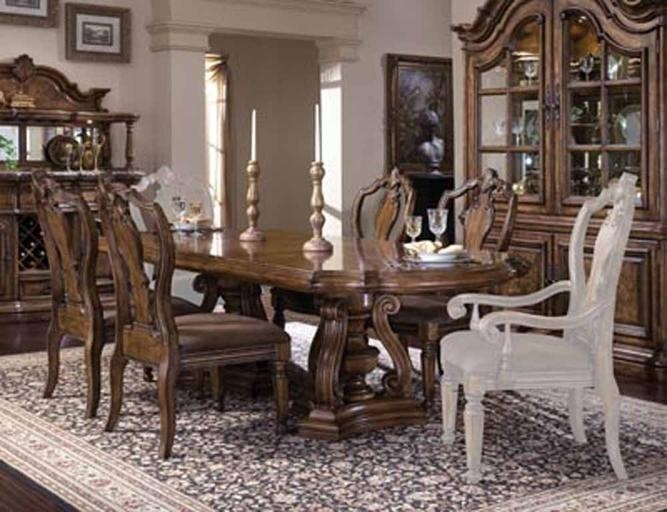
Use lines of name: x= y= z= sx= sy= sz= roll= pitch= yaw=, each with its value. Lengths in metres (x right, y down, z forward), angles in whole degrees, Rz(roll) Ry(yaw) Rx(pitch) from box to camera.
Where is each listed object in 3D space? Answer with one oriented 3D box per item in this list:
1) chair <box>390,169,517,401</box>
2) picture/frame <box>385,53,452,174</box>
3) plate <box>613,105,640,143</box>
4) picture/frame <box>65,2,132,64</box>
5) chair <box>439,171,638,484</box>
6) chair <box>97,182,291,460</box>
chair: x=0.538 y=0.130 z=3.557 sx=0.877 sy=1.137 sz=0.922 roll=1 pitch=7 yaw=18
picture/frame: x=0.952 y=-1.607 z=7.172 sx=0.978 sy=1.310 sz=0.195 roll=-4 pitch=7 yaw=-33
plate: x=1.741 y=-0.779 z=3.799 sx=0.178 sy=0.213 sz=0.182 roll=-1 pitch=-1 yaw=16
picture/frame: x=-2.201 y=-2.079 z=5.891 sx=0.590 sy=0.529 sz=0.069 roll=-2 pitch=4 yaw=-29
chair: x=0.808 y=0.274 z=2.647 sx=0.726 sy=1.115 sz=0.688 roll=-1 pitch=4 yaw=-4
chair: x=-0.648 y=0.269 z=2.933 sx=0.731 sy=1.110 sz=0.639 roll=-3 pitch=3 yaw=-43
